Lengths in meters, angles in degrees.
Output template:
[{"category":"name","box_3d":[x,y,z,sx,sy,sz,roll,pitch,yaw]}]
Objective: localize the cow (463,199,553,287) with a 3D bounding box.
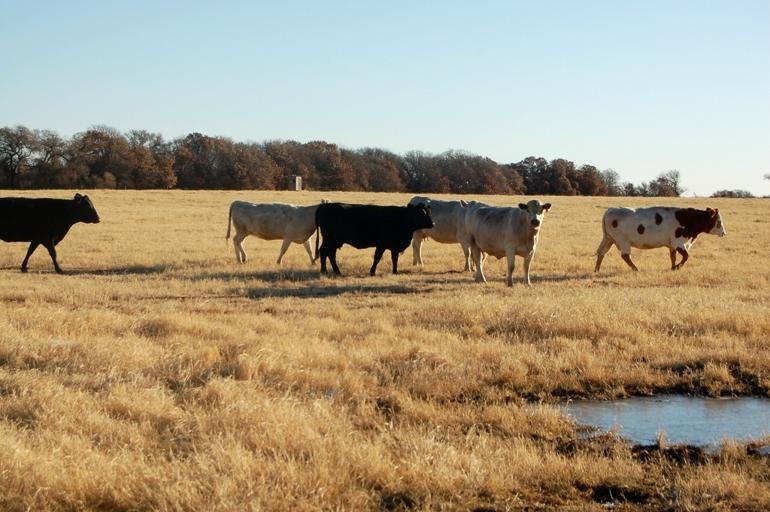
[{"category":"cow","box_3d":[3.006,-0.273,22.614,0.940,2.154,3.556,-1,6,-29]}]
